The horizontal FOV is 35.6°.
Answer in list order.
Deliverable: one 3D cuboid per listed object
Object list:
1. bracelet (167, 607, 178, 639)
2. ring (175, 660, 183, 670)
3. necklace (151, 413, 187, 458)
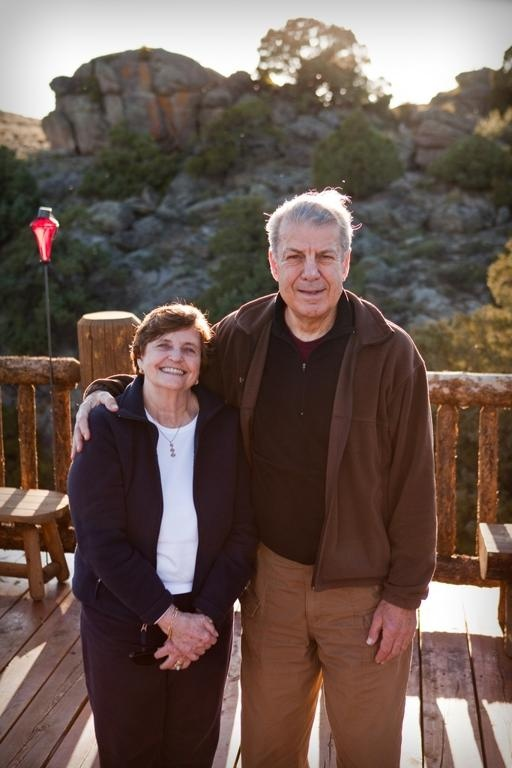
[{"bbox_3d":[-0.233,0.661,2.208,0.026,0.066,0.055,4,-12,4],"label":"bracelet"},{"bbox_3d":[-0.219,0.789,2.233,0.022,0.030,0.011,-1,22,-5],"label":"ring"},{"bbox_3d":[-0.263,0.157,2.343,0.106,0.103,0.057,7,-31,-20],"label":"necklace"}]
